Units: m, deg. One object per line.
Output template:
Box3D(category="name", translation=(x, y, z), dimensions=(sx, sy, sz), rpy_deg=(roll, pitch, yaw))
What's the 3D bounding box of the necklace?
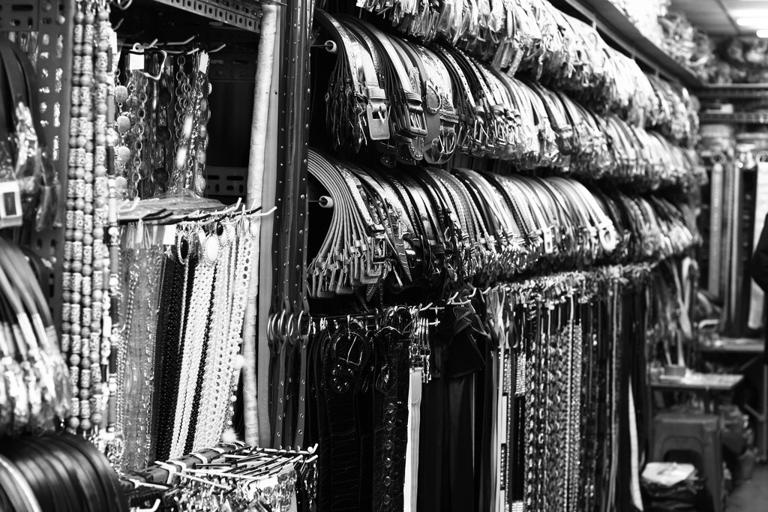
Box3D(category="necklace", translation=(-0.690, -0.033, 3.605), dimensions=(0.267, 1.289, 0.645), rpy_deg=(-1, 1, 37))
